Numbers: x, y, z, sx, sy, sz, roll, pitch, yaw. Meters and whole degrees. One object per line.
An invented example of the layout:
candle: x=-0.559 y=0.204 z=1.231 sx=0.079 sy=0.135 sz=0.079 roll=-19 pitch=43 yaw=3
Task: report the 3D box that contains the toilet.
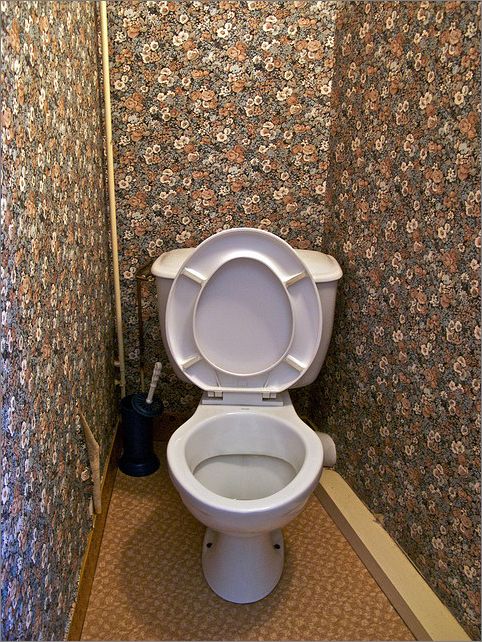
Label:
toilet: x=0.019 y=0.247 z=1.414 sx=0.456 sy=0.916 sz=0.810 roll=-1 pitch=20 yaw=-3
